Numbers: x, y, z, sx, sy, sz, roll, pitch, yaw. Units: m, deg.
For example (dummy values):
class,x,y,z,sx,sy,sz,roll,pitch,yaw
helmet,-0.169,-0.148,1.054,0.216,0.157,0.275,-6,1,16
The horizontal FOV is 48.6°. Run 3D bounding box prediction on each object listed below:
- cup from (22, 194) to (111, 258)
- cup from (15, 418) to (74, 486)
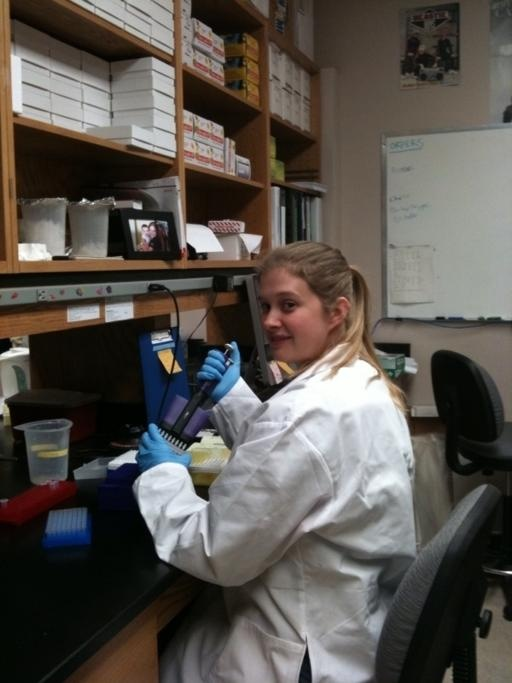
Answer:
class,x,y,z,sx,sy,sz,roll,pitch,yaw
cup,-0.437,-0.269,1.371,0.185,0.133,0.186,1,11,0
cup,-0.532,0.288,1.462,0.132,0.145,0.098,-1,-1,-34
